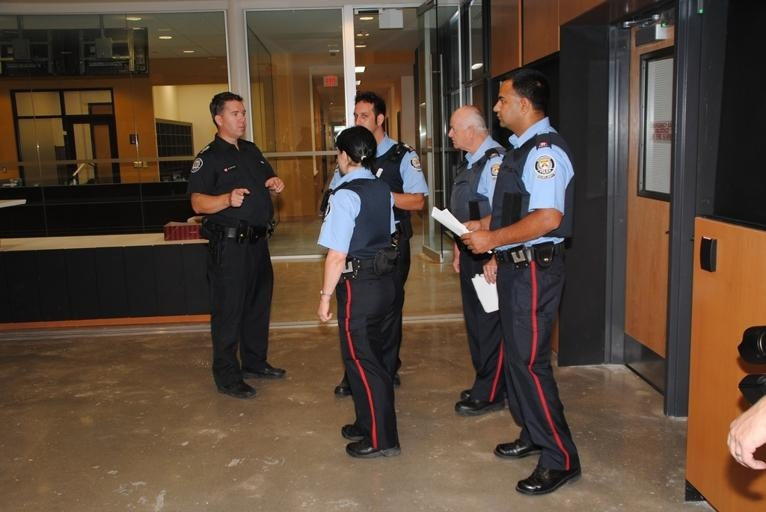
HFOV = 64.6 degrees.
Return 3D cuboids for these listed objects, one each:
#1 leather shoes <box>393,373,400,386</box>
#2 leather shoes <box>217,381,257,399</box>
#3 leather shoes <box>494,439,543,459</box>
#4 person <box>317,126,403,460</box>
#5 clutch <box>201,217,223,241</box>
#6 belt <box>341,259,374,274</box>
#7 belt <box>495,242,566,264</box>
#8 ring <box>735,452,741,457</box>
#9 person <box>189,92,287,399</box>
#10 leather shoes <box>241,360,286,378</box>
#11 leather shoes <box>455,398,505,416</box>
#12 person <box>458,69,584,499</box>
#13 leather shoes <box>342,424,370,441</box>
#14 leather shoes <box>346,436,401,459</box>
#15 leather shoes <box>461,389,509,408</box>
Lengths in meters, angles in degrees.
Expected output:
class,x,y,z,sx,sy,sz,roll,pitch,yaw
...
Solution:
class,x,y,z,sx,sy,sz,roll,pitch,yaw
leather shoes,0.110,1.036,5.107,0.070,0.039,0.114,2,11,-1
leather shoes,-1.194,1.095,4.974,0.313,0.129,0.135,1,6,13
leather shoes,0.893,1.308,4.102,0.328,0.123,0.126,2,9,-3
person,-0.167,0.256,4.086,0.539,2.202,0.370,-3,11,1
clutch,-1.381,-0.209,4.904,0.177,0.181,0.137,6,-1,13
belt,-0.164,0.061,3.998,0.143,0.060,0.103,-4,4,-12
belt,0.907,-0.018,3.758,0.228,0.069,0.197,-4,7,28
ring,1.428,0.797,2.452,0.016,0.010,0.020,2,0,7
person,-1.177,-0.101,5.011,0.695,2.429,0.541,-13,15,-40
leather shoes,-1.041,0.981,5.367,0.405,0.157,0.147,-1,4,0
leather shoes,0.735,1.145,4.602,0.324,0.132,0.139,3,3,-4
person,0.904,0.139,3.852,0.626,2.580,0.693,-8,12,-23
leather shoes,-0.198,1.257,4.390,0.190,0.077,0.104,8,7,9
leather shoes,-0.065,1.292,4.193,0.343,0.128,0.147,3,3,0
leather shoes,0.775,1.090,4.729,0.362,0.161,0.126,9,12,3
